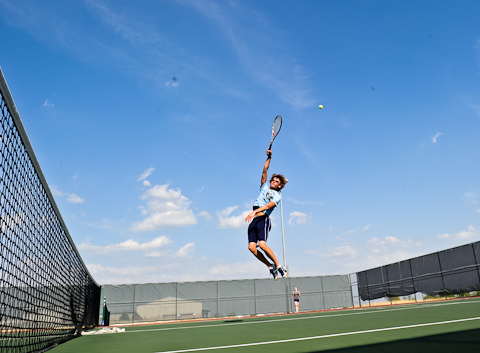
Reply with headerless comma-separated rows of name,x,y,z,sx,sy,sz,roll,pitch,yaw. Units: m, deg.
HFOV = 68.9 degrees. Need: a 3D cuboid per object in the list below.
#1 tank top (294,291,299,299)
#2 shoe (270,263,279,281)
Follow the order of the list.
tank top,3.641,7.666,22.644,0.364,0.518,0.294,0,-43,3
shoe,0.744,2.099,7.673,0.141,0.446,0.182,-10,-11,28
